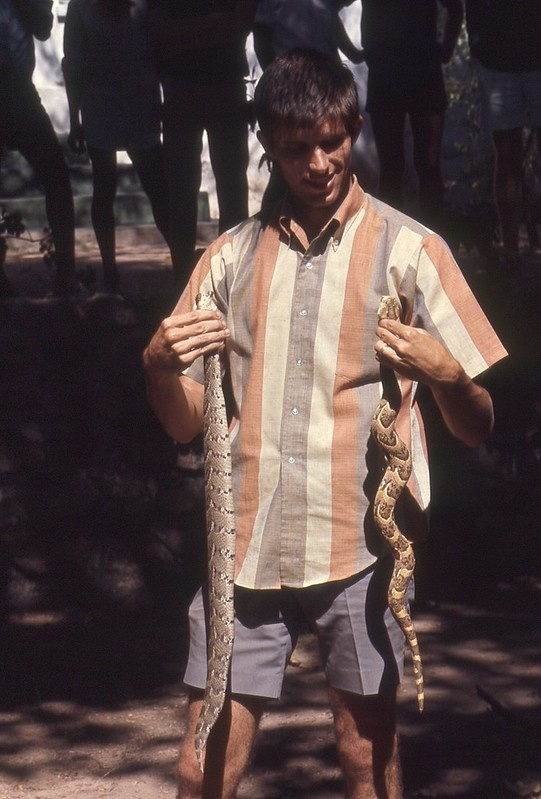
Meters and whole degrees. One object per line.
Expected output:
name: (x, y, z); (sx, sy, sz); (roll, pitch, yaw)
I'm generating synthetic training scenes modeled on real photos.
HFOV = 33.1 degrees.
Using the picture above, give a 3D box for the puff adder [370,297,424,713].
puff adder: (0.305, 0.291, 2.378); (0.163, 1.004, 0.088); (-1, 7, -22)

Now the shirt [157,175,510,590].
shirt: (0.186, -0.067, 2.534); (0.736, 1.026, 0.684); (-7, 23, -17)
